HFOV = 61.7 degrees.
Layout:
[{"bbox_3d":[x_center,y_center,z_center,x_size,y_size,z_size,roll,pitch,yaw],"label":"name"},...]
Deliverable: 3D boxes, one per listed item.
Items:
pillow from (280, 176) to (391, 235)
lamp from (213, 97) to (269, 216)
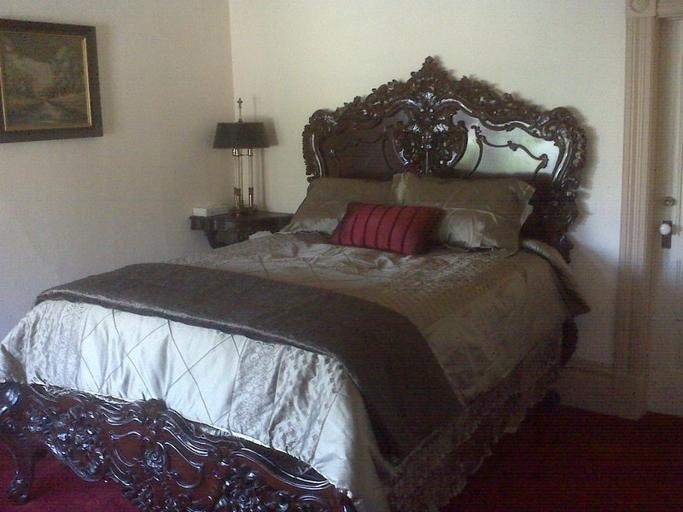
[{"bbox_3d":[-0.056,-0.345,3.711,0.464,0.114,0.474,4,35,24],"label":"pillow"},{"bbox_3d":[-0.766,-0.756,4.384,0.435,0.836,0.441,1,7,14],"label":"lamp"}]
